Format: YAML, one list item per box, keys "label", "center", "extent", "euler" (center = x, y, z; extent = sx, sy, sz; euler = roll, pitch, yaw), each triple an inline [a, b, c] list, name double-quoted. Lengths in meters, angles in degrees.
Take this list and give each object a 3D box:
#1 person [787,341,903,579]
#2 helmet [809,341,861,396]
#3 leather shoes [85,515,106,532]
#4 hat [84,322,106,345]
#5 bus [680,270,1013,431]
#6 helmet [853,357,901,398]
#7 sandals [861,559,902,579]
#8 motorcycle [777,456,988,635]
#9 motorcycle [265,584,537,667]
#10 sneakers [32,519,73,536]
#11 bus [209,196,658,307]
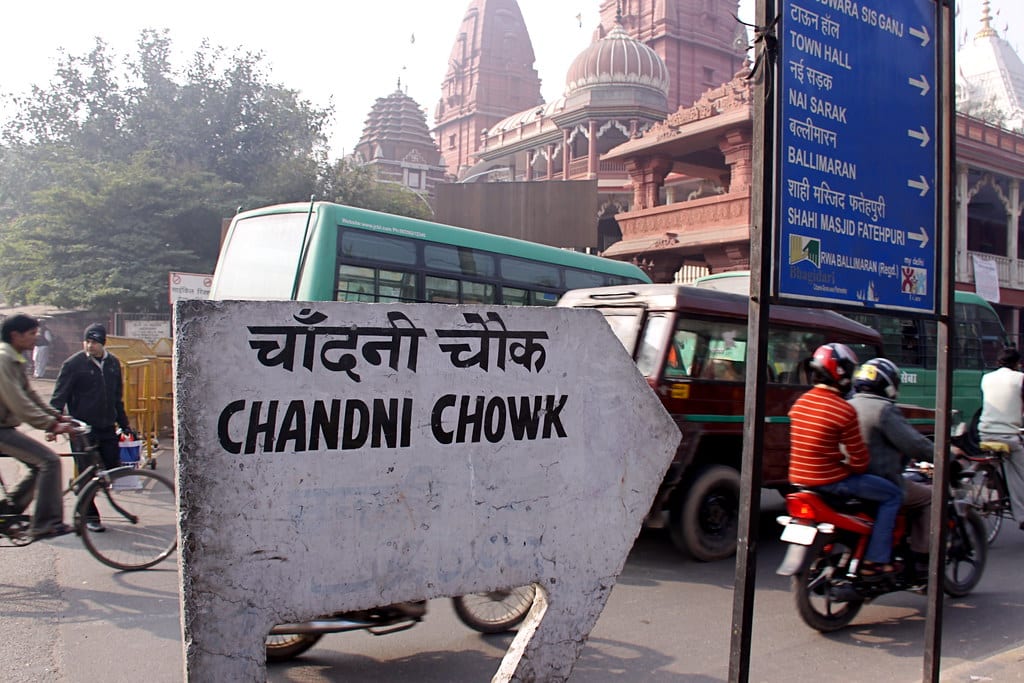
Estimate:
- label: "person"
  center: [2.630, 0.929, 7.397]
  extent: [0.844, 1.830, 0.335]
  euler: [5, -5, -19]
- label: "helmet"
  center: [2.587, 0.216, 7.530]
  extent: [0.450, 0.416, 0.346]
  euler: [7, -2, -42]
- label: "leather shoes"
  center: [-3.685, 1.615, 8.370]
  extent: [0.113, 0.145, 0.200]
  euler: [3, -5, 3]
- label: "hat"
  center: [-4.510, -0.098, 10.068]
  extent: [0.210, 0.247, 0.261]
  euler: [10, -10, -8]
- label: "bus"
  center: [6.989, 0.177, 16.163]
  extent: [7.346, 3.247, 2.731]
  euler: [1, 0, -19]
- label: "helmet"
  center: [3.021, 0.339, 7.656]
  extent: [0.276, 0.319, 0.348]
  euler: [20, -19, 39]
- label: "sandals"
  center: [2.860, 1.778, 7.335]
  extent: [0.327, 0.144, 0.106]
  euler: [-3, 3, -13]
- label: "motorcycle"
  center: [3.198, 1.492, 7.771]
  extent: [2.345, 1.371, 1.010]
  euler: [-2, 0, -30]
- label: "motorcycle"
  center: [-0.760, 2.043, 6.721]
  extent: [1.906, 0.578, 1.020]
  euler: [4, -5, -13]
- label: "sneakers"
  center: [-3.917, 1.592, 8.062]
  extent: [0.358, 0.144, 0.118]
  euler: [-2, -4, -14]
- label: "bus"
  center: [-0.734, -0.692, 14.819]
  extent: [1.852, 1.934, 7.866]
  euler: [1, -1, 38]
